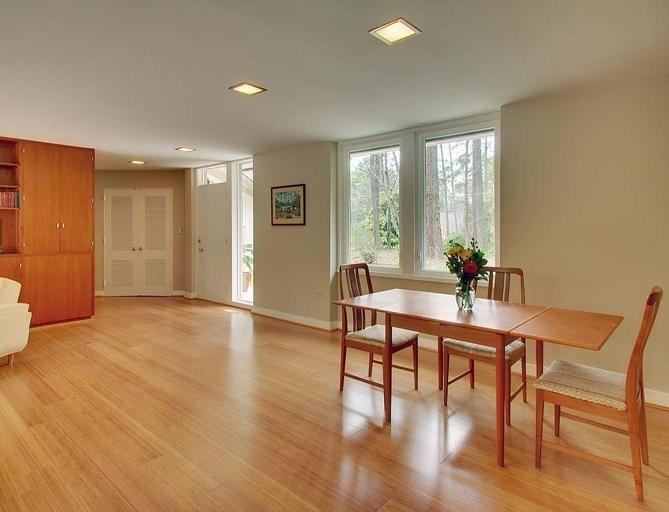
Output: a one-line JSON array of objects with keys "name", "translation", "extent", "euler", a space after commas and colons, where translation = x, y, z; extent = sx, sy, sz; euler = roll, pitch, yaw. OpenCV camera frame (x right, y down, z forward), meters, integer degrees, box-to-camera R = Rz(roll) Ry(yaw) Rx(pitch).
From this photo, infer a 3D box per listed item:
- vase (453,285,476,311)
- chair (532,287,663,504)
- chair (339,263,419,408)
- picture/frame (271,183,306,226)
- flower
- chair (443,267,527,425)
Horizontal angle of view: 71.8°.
[{"name": "vase", "translation": [1.057, 0.345, 3.807], "extent": [0.174, 0.233, 0.168], "euler": [-3, 6, -23]}, {"name": "chair", "translation": [1.897, 0.872, 3.329], "extent": [0.711, 1.397, 0.878], "euler": [5, 9, 36]}, {"name": "chair", "translation": [0.419, 0.665, 4.262], "extent": [0.731, 1.168, 0.731], "euler": [1, 5, 17]}, {"name": "picture/frame", "translation": [-0.634, -0.748, 6.660], "extent": [0.605, 0.593, 0.026], "euler": [4, 6, 43]}, {"name": "flower", "translation": [1.089, 0.157, 3.784], "extent": [0.331, 0.492, 0.331], "euler": [6, 7, 36]}, {"name": "chair", "translation": [1.538, 0.695, 4.270], "extent": [0.563, 1.077, 0.650], "euler": [22, -14, -24]}]
